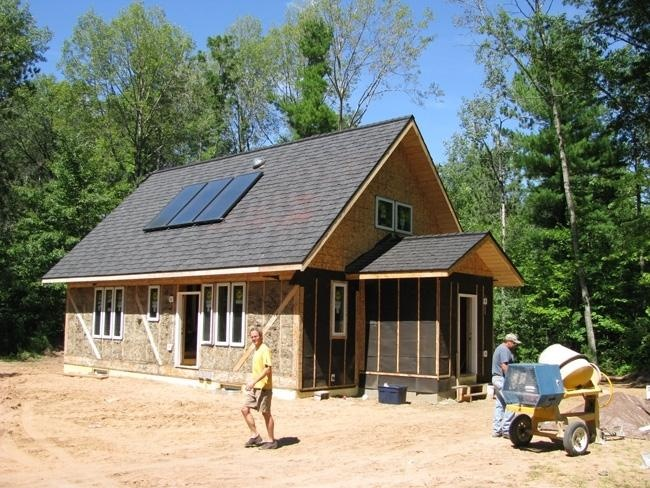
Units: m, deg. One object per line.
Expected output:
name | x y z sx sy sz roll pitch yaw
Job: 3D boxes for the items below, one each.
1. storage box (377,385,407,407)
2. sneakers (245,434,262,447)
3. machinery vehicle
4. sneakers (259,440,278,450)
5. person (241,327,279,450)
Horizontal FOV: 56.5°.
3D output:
storage box | 2.043 4.755 18.923 0.709 0.514 0.529 -6 -10 32
sneakers | -1.657 4.512 13.822 0.413 0.213 0.194 -12 -15 41
machinery vehicle | 5.419 3.560 13.970 2.804 2.474 1.881 1 -4 -37
sneakers | -1.248 4.548 13.689 0.336 0.146 0.191 14 -24 -35
person | -1.479 3.269 13.680 0.786 2.721 1.096 0 -1 -6
